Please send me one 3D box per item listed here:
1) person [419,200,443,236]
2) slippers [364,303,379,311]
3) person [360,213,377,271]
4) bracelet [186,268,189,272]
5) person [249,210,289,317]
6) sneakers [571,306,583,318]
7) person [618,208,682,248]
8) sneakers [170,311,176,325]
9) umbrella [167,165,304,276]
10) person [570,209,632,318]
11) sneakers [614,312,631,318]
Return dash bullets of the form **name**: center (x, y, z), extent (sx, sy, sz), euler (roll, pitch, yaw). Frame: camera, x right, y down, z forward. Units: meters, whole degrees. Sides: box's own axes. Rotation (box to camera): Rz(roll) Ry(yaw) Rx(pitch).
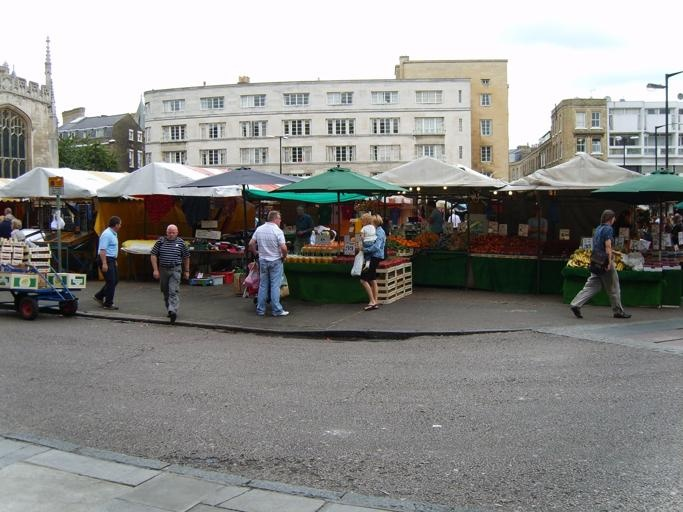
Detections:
- **person**: center (2.606, -0.902, 19.272), extent (0.550, 1.141, 0.499), euler (-5, 1, -26)
- **slippers**: center (0.614, 1.066, 14.359), extent (0.301, 0.111, 0.107), euler (2, -1, -10)
- **person**: center (0.561, -0.309, 14.214), extent (0.305, 1.137, 0.388), euler (-1, 6, 2)
- **bracelet**: center (-3.061, 0.272, 13.654), extent (0.047, 0.072, 0.047), euler (2, -5, -28)
- **person**: center (-1.500, 0.128, 14.246), extent (0.722, 2.128, 0.949), euler (-3, 7, -15)
- **sneakers**: center (4.568, 1.084, 13.395), extent (0.096, 0.216, 0.074), euler (-29, 16, -3)
- **person**: center (7.686, -0.713, 17.268), extent (1.116, 0.903, 1.000), euler (2, 10, 9)
- **sneakers**: center (-3.330, 1.213, 13.579), extent (0.099, 0.257, 0.105), euler (4, 22, -9)
- **umbrella**: center (-3.182, -0.995, 19.456), extent (3.718, 2.172, 3.618), euler (-7, 10, -42)
- **person**: center (5.004, 0.149, 13.302), extent (1.159, 2.052, 0.672), euler (-1, 6, 2)
- **sneakers**: center (5.409, 1.137, 13.245), extent (0.263, 0.098, 0.134), euler (-2, 4, 3)
